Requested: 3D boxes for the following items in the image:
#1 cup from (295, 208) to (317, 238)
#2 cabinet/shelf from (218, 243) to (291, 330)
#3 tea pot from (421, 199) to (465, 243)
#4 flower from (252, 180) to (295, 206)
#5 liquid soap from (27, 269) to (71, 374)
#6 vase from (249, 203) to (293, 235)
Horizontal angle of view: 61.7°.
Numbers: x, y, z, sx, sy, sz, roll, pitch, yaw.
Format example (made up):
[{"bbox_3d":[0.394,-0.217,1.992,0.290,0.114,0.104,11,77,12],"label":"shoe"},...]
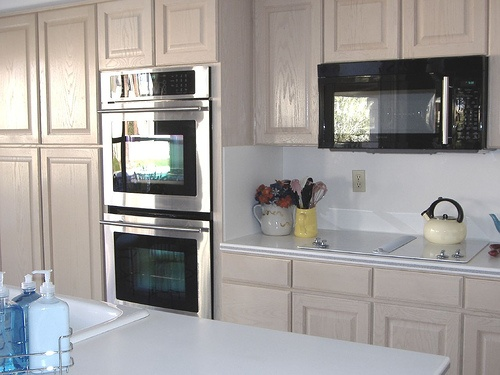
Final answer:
[{"bbox_3d":[0.379,0.235,2.834,0.164,0.188,0.165,-1,1,0],"label":"cup"},{"bbox_3d":[0.089,0.669,2.681,0.505,0.528,0.352,2,7,23],"label":"cabinet/shelf"},{"bbox_3d":[1.176,0.207,2.516,0.255,0.279,0.260,-1,0,0],"label":"tea pot"},{"bbox_3d":[0.169,0.051,2.770,0.186,0.128,0.191,-4,0,-6],"label":"flower"},{"bbox_3d":[-0.478,0.343,0.992,0.096,0.267,0.192,-2,6,-25],"label":"liquid soap"},{"bbox_3d":[0.160,0.214,2.896,0.286,0.223,0.223,1,-1,7],"label":"vase"}]
